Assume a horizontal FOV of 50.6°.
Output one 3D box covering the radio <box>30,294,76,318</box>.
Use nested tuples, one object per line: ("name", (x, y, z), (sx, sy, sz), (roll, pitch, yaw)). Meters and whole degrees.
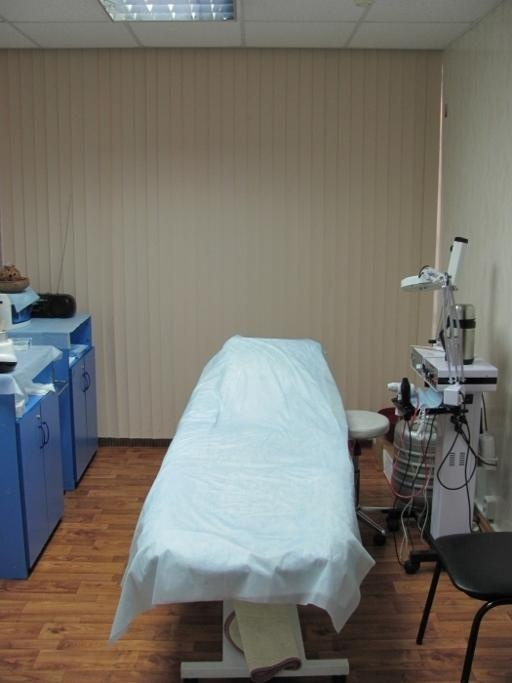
("radio", (-1.220, -0.209, 3.247), (0.249, 0.146, 0.071), (0, 11, -16))

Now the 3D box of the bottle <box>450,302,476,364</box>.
("bottle", (0.855, -0.028, 2.217), (0.084, 0.224, 0.220), (6, 12, 18))

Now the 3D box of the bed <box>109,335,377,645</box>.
("bed", (-0.026, 0.510, 2.067), (0.574, 0.357, 1.909), (1, 10, 3))
